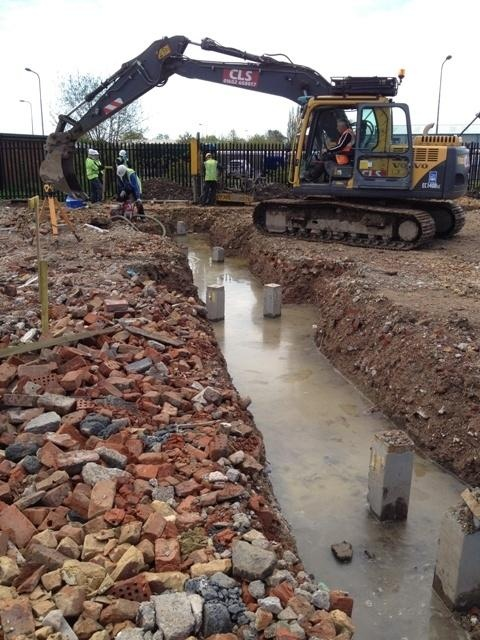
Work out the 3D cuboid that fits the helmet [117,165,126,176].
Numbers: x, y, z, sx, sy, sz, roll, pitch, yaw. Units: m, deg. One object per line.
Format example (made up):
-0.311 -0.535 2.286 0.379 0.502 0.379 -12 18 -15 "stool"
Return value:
-2.846 -3.627 11.301 0.202 0.256 0.257 1 37 -4 "helmet"
